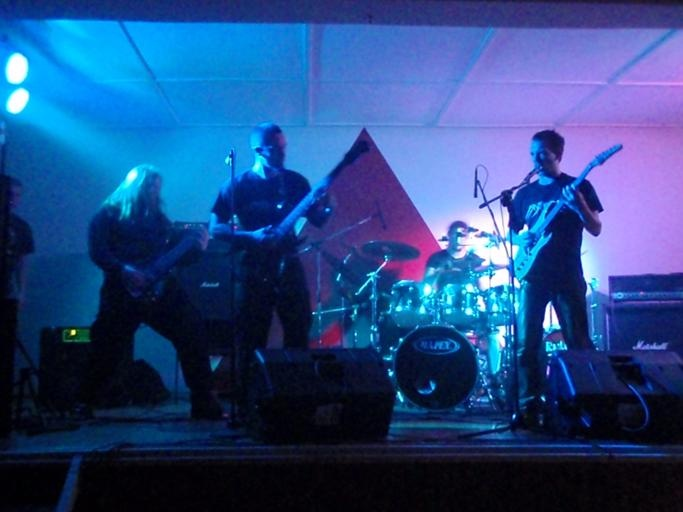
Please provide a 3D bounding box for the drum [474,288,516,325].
[{"bbox_3d":[1.306,0.431,5.629,0.328,0.332,0.314,0,-2,-12],"label":"drum"}]

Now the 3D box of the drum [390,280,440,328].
[{"bbox_3d":[0.598,0.413,5.644,0.400,0.396,0.183,-1,-8,6],"label":"drum"}]

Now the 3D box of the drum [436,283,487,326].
[{"bbox_3d":[0.997,0.435,5.623,0.362,0.266,0.351,3,-9,0],"label":"drum"}]

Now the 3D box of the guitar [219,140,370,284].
[{"bbox_3d":[-0.289,-0.326,4.642,0.492,1.489,0.176,39,16,-15],"label":"guitar"}]

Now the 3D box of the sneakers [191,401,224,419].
[{"bbox_3d":[-0.935,1.075,4.646,0.174,0.124,0.127,0,5,6],"label":"sneakers"}]

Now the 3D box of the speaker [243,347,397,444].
[{"bbox_3d":[-0.128,0.835,3.978,0.636,0.408,0.624,1,-18,-9],"label":"speaker"}]

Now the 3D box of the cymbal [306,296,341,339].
[{"bbox_3d":[-0.115,0.624,6.829,0.440,0.408,0.096,-18,19,-34],"label":"cymbal"}]

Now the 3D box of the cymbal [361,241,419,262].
[{"bbox_3d":[0.433,-0.045,6.033,0.475,0.167,0.350,7,-11,-44],"label":"cymbal"}]
